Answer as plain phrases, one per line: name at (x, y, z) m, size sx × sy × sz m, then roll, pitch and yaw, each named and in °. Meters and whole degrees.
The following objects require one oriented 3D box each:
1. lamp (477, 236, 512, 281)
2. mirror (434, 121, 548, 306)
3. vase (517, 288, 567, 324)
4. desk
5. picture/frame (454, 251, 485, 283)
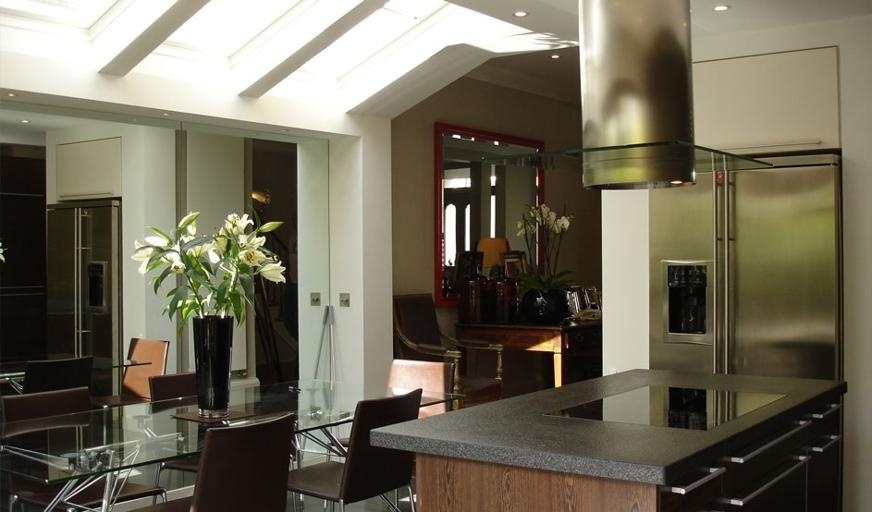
lamp at (0.671, -0.026, 7.583) m, size 0.414 × 0.362 × 0.412 m, roll 0°, pitch -1°, yaw 1°
mirror at (0.567, -0.454, 7.450) m, size 2.376 × 2.553 × 0.128 m, roll -1°, pitch 3°, yaw -44°
vase at (1.310, 0.613, 7.263) m, size 0.684 × 0.454 × 0.691 m, roll 4°, pitch -5°, yaw 0°
desk at (1.133, 1.243, 7.281) m, size 1.236 × 1.109 × 0.925 m, roll -3°, pitch -6°, yaw 37°
picture/frame at (0.409, 0.134, 7.566) m, size 0.351 × 0.601 × 0.339 m, roll -1°, pitch -7°, yaw 4°
